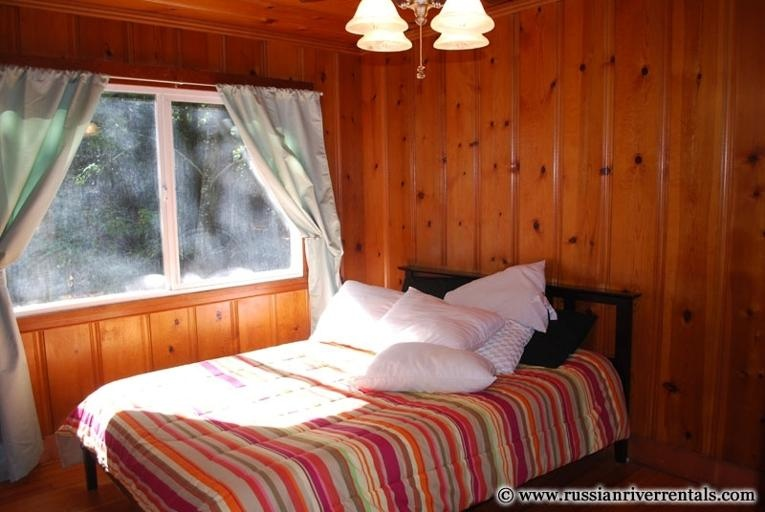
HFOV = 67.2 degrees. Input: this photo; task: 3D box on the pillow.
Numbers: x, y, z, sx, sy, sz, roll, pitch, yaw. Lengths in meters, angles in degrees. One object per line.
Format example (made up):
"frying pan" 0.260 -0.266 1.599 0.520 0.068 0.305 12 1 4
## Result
"pillow" 0.406 0.496 3.941 1.142 0.410 1.038 -2 12 15
